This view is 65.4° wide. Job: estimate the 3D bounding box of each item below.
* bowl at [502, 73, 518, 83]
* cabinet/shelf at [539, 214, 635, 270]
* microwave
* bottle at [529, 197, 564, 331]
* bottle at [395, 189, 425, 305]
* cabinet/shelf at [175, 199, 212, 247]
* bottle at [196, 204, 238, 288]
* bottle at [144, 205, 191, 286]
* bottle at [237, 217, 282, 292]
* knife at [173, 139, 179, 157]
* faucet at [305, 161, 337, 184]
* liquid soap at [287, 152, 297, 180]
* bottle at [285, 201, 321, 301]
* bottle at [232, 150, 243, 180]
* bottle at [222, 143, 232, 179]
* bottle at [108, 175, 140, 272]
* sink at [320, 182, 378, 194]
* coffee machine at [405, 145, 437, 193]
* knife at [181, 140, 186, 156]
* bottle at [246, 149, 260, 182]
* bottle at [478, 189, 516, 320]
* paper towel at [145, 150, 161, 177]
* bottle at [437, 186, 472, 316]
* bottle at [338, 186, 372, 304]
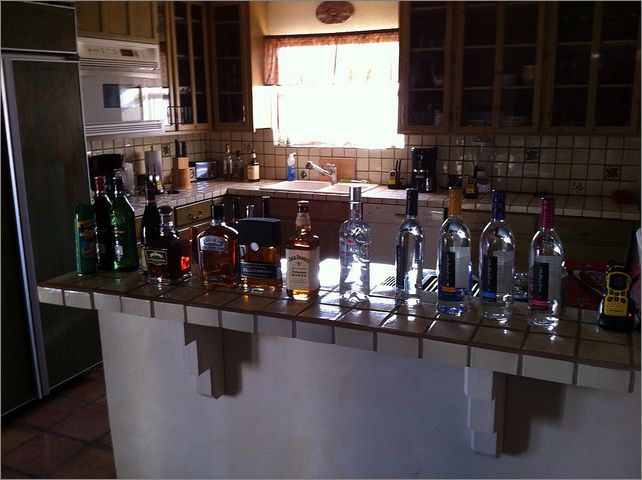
[{"bbox_3d":[1.476,-1.251,3.883,0.089,0.088,0.090,-1,25,0],"label":"bowl"},{"bbox_3d":[1.505,0.003,2.744,0.335,0.321,0.181,1,3,19],"label":"cabinet/shelf"},{"bbox_3d":[-1.634,-1.148,3.803,0.364,0.690,0.780,12,19,26],"label":"microwave"},{"bbox_3d":[0.713,0.063,1.552,0.108,0.401,0.180,7,15,27],"label":"bottle"},{"bbox_3d":[0.303,0.017,1.684,0.088,0.404,0.206,2,13,12],"label":"bottle"},{"bbox_3d":[-0.882,-0.132,3.352,0.198,0.290,0.303,5,13,24],"label":"cabinet/shelf"},{"bbox_3d":[-0.385,0.021,1.835,0.166,0.317,0.127,-1,13,-2],"label":"bottle"},{"bbox_3d":[-0.598,0.018,1.932,0.159,0.285,0.168,-1,10,0],"label":"bottle"},{"bbox_3d":[-0.222,0.049,1.814,0.160,0.279,0.167,0,13,0],"label":"bottle"},{"bbox_3d":[-1.370,-0.867,4.739,0.041,0.139,0.169,-4,14,-15],"label":"knife"},{"bbox_3d":[-0.023,-0.651,4.848,0.362,0.208,0.296,3,14,14],"label":"faucet"},{"bbox_3d":[-0.306,-0.736,5.017,0.081,0.271,0.094,-1,13,-4],"label":"liquid soap"},{"bbox_3d":[-0.069,0.030,1.763,0.127,0.354,0.165,0,13,-1],"label":"bottle"},{"bbox_3d":[-0.867,-0.770,5.140,0.124,0.294,0.233,-3,14,-10],"label":"bottle"},{"bbox_3d":[-0.977,-0.815,5.172,0.102,0.367,0.257,-3,14,-11],"label":"bottle"},{"bbox_3d":[-0.794,-0.057,1.979,0.097,0.383,0.124,-6,14,-23],"label":"bottle"},{"bbox_3d":[0.235,-0.415,4.030,0.338,0.088,0.345,4,19,18],"label":"sink"},{"bbox_3d":[0.923,-0.622,4.383,0.241,0.369,0.273,0,13,2],"label":"coffee machine"},{"bbox_3d":[-1.314,-0.858,4.734,0.043,0.132,0.142,-4,14,-18],"label":"knife"},{"bbox_3d":[-0.701,-0.753,5.067,0.146,0.295,0.246,-2,13,-8],"label":"bottle"},{"bbox_3d":[0.569,0.042,1.591,0.113,0.416,0.165,5,14,21],"label":"bottle"},{"bbox_3d":[-1.546,-0.683,4.509,0.128,0.237,0.254,-1,14,-5],"label":"paper towel"},{"bbox_3d":[0.442,0.035,1.623,0.109,0.413,0.164,4,14,17],"label":"bottle"},{"bbox_3d":[0.118,0.004,1.756,0.115,0.407,0.201,1,13,5],"label":"bottle"}]
